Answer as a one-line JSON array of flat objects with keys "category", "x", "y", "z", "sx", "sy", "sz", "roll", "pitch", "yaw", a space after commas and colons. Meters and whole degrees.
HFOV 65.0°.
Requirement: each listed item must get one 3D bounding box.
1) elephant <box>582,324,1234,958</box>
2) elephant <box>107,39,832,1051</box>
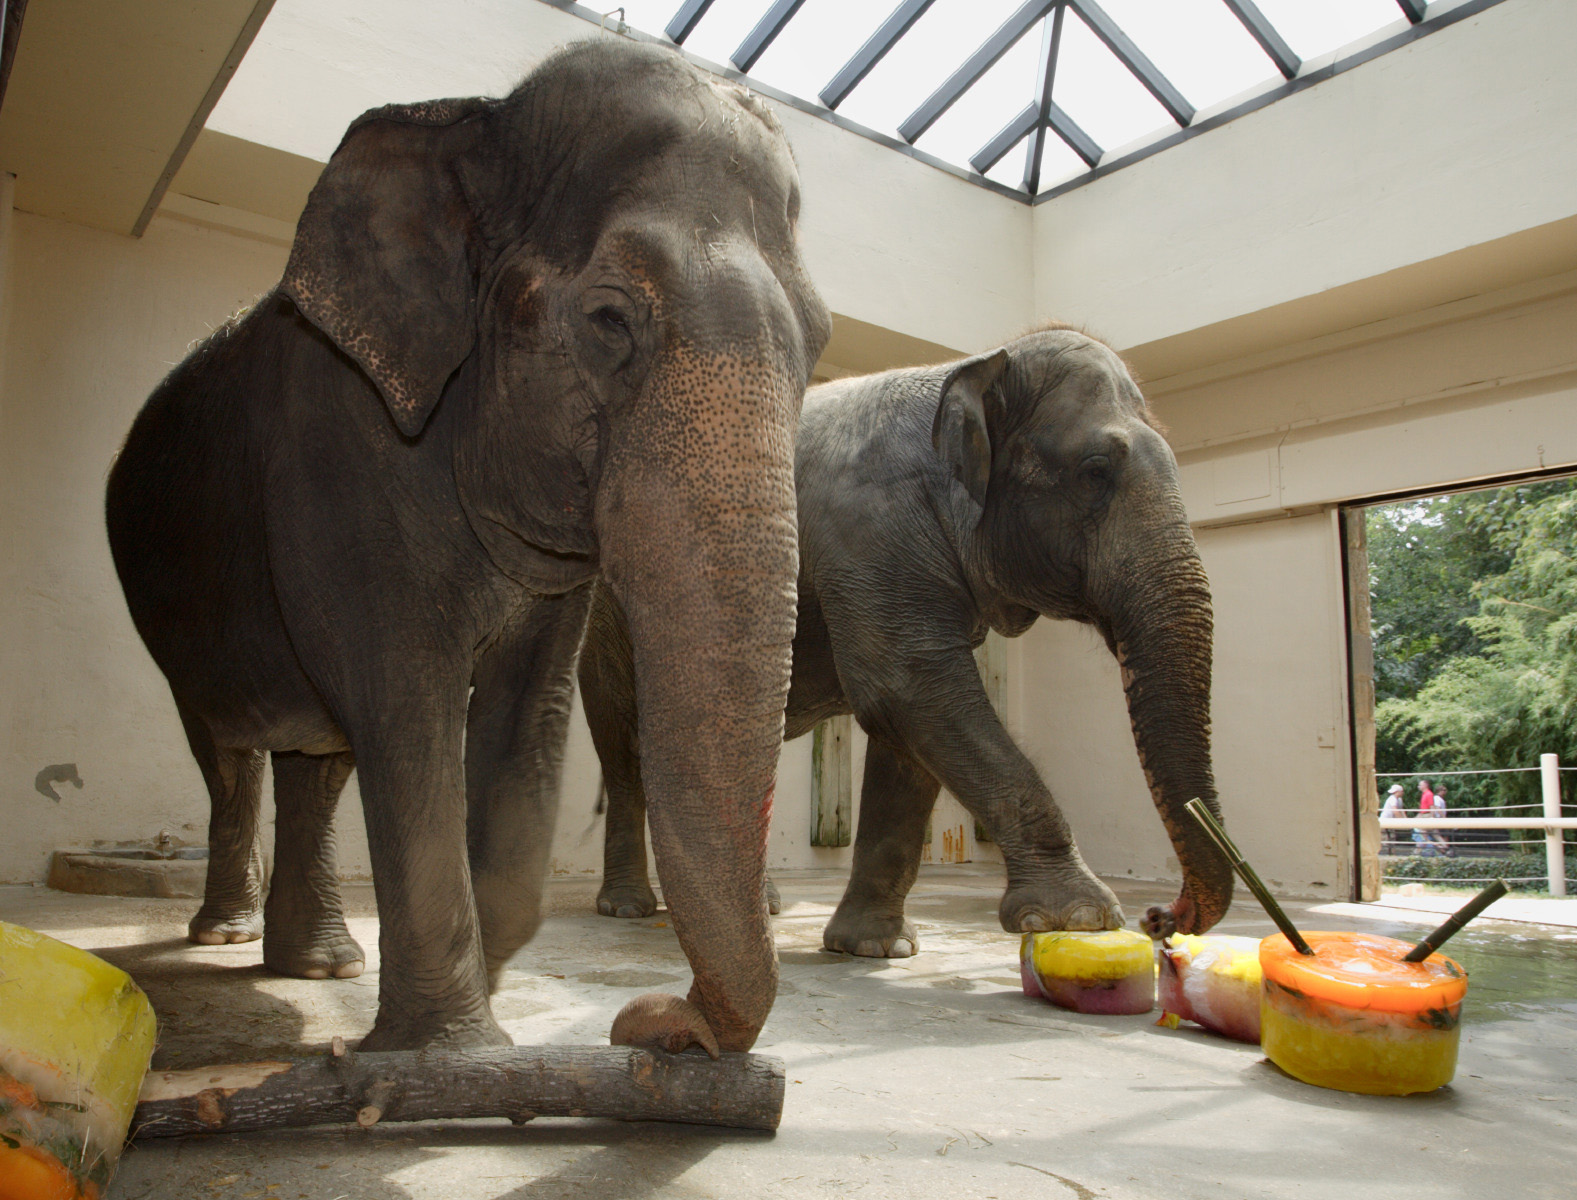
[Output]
[{"category": "elephant", "x": 0.290, "y": 0.198, "z": 4.021, "sx": 2.073, "sy": 1.882, "sz": 0.728, "roll": -5, "pitch": -10, "yaw": 26}, {"category": "elephant", "x": -0.622, "y": -0.092, "z": 2.248, "sx": 0.658, "sy": 1.705, "sz": 1.570, "roll": 6, "pitch": -8, "yaw": -42}]
